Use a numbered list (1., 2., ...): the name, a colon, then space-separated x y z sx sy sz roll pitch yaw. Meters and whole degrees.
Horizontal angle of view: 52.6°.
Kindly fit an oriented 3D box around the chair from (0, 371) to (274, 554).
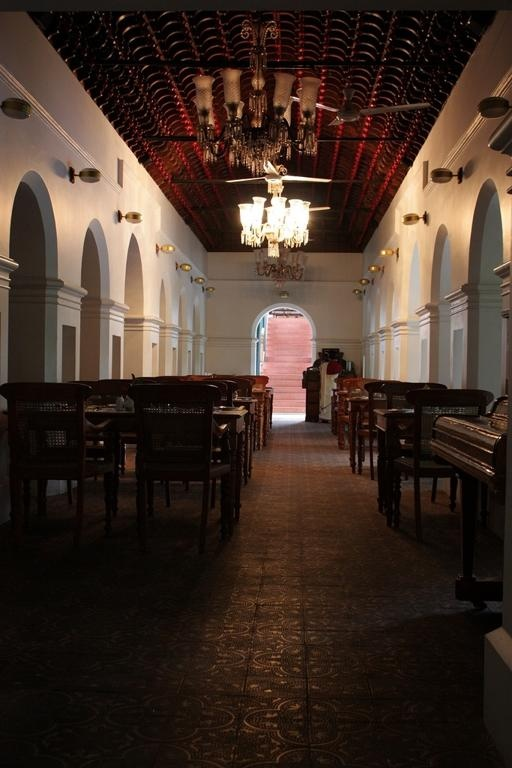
1. chair: -0.971 0.575 4.001 1.648 1.188 1.199 1 -5 4

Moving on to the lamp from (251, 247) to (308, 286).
1. lamp: 0.917 -4.175 17.970 1.407 1.241 1.564 0 1 -8

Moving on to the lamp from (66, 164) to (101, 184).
1. lamp: -2.114 -2.586 6.381 0.311 0.259 0.246 1 2 8

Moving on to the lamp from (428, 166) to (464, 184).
1. lamp: 2.282 -2.530 6.155 0.369 0.223 0.267 0 5 -3

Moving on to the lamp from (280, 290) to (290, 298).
1. lamp: 1.022 -3.410 19.200 0.339 0.329 0.305 1 -5 0

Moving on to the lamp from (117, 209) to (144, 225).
1. lamp: -2.100 -2.778 8.514 0.309 0.187 0.280 0 0 8
